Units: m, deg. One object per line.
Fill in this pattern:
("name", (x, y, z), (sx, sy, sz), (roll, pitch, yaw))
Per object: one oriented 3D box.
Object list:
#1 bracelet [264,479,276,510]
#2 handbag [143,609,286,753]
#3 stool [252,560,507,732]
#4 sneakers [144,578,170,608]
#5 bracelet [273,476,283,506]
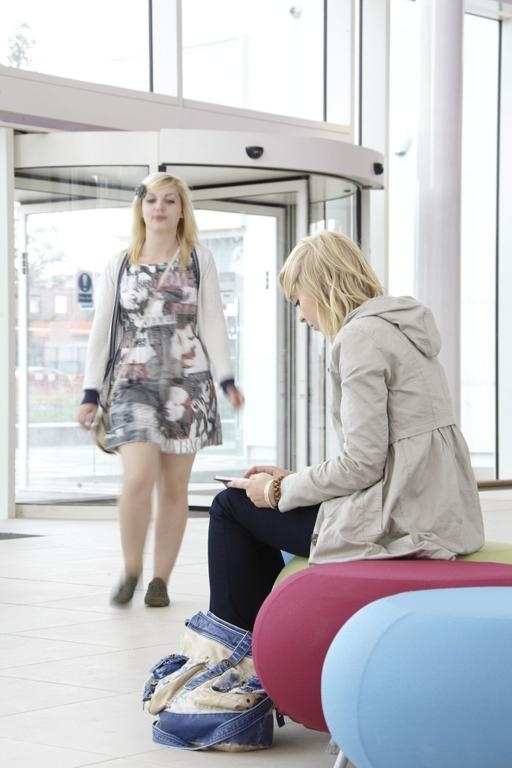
("bracelet", (0.027, 0.236, 1.583), (0.018, 0.047, 0.042), (0, 9, 8))
("handbag", (-0.105, 0.615, 1.531), (0.263, 0.229, 0.165), (-7, -25, 30))
("stool", (0.198, 0.377, 1.268), (0.335, 0.143, 0.339), (-6, -5, 35))
("sneakers", (-0.387, 0.816, 2.882), (0.098, 0.092, 0.145), (1, 4, -8))
("bracelet", (0.043, 0.231, 1.582), (0.019, 0.048, 0.040), (0, -2, 4))
